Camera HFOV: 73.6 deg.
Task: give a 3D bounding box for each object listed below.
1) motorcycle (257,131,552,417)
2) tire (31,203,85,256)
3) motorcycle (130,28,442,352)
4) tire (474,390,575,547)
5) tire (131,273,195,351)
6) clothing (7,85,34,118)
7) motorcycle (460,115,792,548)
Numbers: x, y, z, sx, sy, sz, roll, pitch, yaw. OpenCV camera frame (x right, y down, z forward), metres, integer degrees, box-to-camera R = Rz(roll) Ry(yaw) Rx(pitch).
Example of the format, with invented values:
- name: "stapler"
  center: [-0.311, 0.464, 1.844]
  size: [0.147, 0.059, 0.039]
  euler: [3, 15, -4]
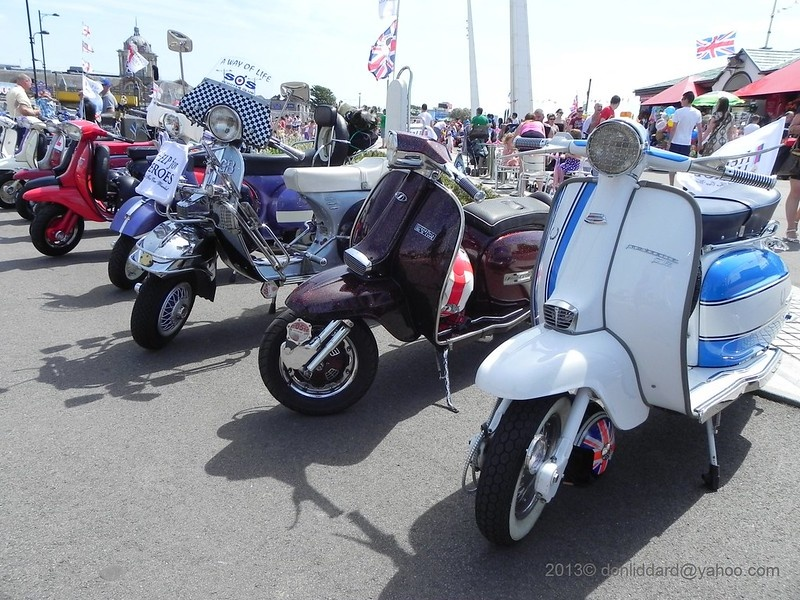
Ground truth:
- name: "motorcycle"
  center: [-0.207, -0.215, 4.371]
  size: [2.998, 2.014, 1.157]
  euler: [-9, 12, -41]
- name: "tire"
  center: [-4.458, -0.906, 6.969]
  size: [0.169, 0.492, 0.550]
  euler: [19, -16, 32]
- name: "motorcycle"
  center: [-1.458, -1.194, 5.468]
  size: [3.070, 2.285, 1.812]
  euler: [-18, 24, -41]
- name: "tire"
  center: [0.596, 0.809, 2.549]
  size: [0.126, 0.625, 0.648]
  euler: [20, 20, 29]
- name: "tire"
  center: [-1.971, 0.112, 4.465]
  size: [0.238, 0.513, 0.548]
  euler: [17, -5, 10]
- name: "clothing"
  center: [-7.654, -3.987, 10.729]
  size: [0.414, 0.644, 1.383]
  euler: [-14, 28, -32]
- name: "motorcycle"
  center: [1.223, 0.064, 2.821]
  size: [2.100, 1.888, 0.811]
  euler: [-10, 25, -26]
